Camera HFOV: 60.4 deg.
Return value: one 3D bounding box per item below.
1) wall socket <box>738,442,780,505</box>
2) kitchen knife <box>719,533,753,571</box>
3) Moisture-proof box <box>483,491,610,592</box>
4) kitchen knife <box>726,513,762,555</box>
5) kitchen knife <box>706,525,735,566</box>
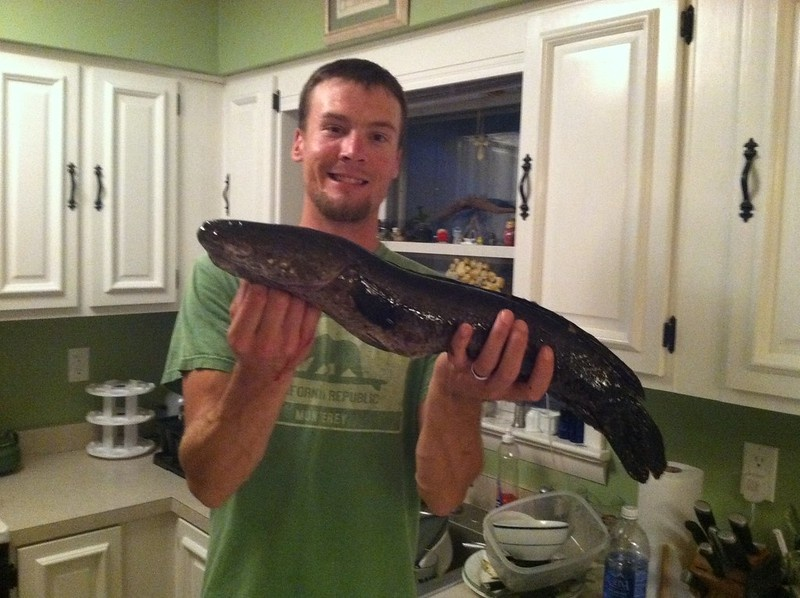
[{"bbox_3d":[1.150,0.558,2.196,0.102,0.185,0.042,4,7,30],"label":"wall socket"},{"bbox_3d":[0.974,0.737,1.993,0.063,0.118,0.029,-27,-3,34],"label":"kitchen knife"},{"bbox_3d":[0.454,0.749,2.119,0.331,0.127,0.273,-18,32,-26],"label":"Moisture-proof box"},{"bbox_3d":[1.034,0.709,2.063,0.047,0.096,0.136,-22,39,13],"label":"kitchen knife"},{"bbox_3d":[0.936,0.722,2.015,0.025,0.102,0.049,-21,1,-18],"label":"kitchen knife"}]
